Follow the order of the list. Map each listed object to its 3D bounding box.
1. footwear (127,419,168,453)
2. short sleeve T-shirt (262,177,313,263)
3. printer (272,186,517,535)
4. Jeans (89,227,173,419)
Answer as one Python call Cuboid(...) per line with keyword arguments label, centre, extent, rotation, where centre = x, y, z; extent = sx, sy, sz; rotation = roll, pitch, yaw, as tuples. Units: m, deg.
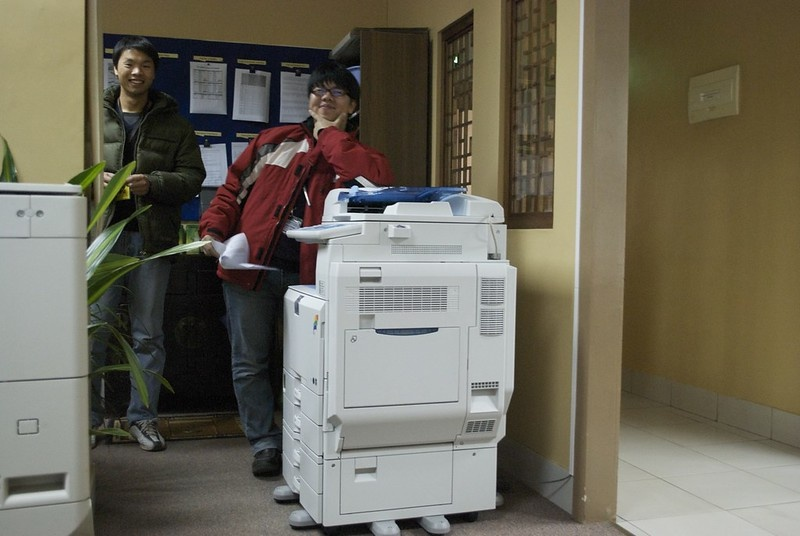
Cuboid(label="footwear", centre=(-1.414, 0.914, 3.572), extent=(0.184, 0.144, 0.270), rotation=(-3, 10, -24))
Cuboid(label="short sleeve T-shirt", centre=(-0.611, -0.220, 3.235), extent=(0.124, 0.367, 0.253), rotation=(12, 1, -21))
Cuboid(label="printer", centre=(-0.040, 0.362, 3.432), extent=(1.287, 1.765, 1.318), rotation=(1, 1, -9))
Cuboid(label="Jeans", centre=(-1.477, 0.376, 3.523), extent=(0.418, 1.140, 0.792), rotation=(-2, 9, -20))
